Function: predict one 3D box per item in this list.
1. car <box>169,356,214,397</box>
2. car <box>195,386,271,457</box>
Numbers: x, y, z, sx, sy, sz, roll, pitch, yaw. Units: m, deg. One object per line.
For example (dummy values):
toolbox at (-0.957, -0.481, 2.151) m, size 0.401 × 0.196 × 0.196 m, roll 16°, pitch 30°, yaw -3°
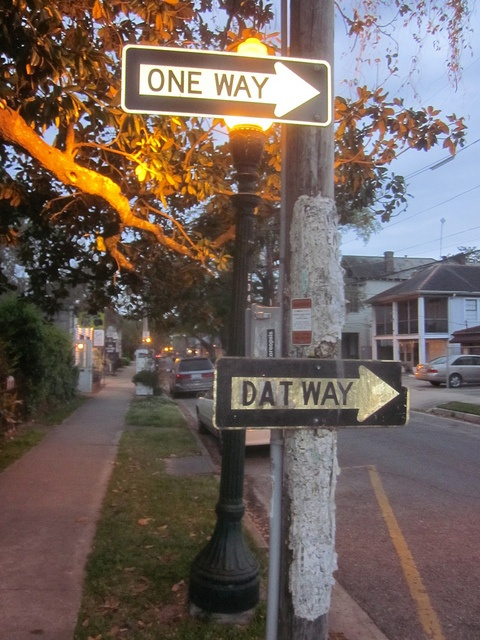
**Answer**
car at (-1.866, 2.285, 20.719) m, size 1.525 × 1.284 × 2.857 m, roll 0°, pitch 1°, yaw -7°
car at (-0.190, 1.804, 9.773) m, size 1.141 × 1.022 × 2.306 m, roll 0°, pitch 2°, yaw -16°
